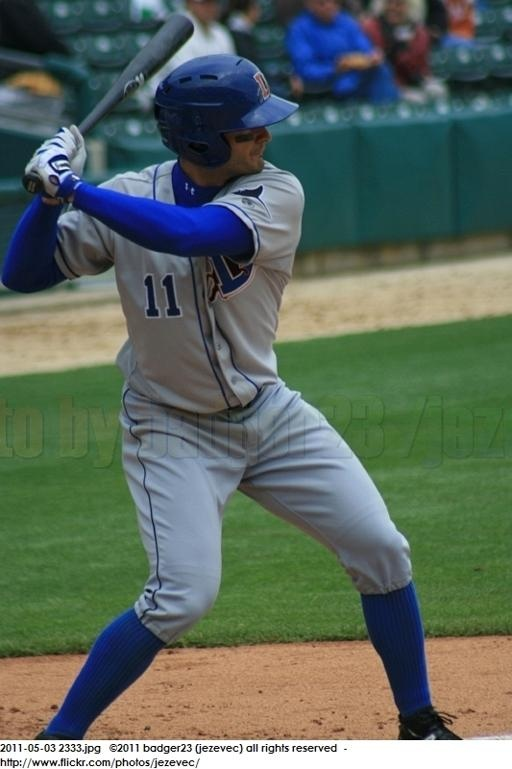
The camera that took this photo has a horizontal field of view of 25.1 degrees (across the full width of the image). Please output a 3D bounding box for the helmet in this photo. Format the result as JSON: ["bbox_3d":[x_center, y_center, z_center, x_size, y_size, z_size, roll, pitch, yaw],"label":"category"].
[{"bbox_3d":[-0.054,-0.605,2.522,0.328,0.198,0.213,3,26,8],"label":"helmet"}]

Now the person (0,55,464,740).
[{"bbox_3d":[-0.078,0.053,2.541,0.906,1.528,0.530,-4,14,-10],"label":"person"}]

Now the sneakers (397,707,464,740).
[{"bbox_3d":[0.385,0.775,2.620,0.069,0.056,0.166,12,-17,-41],"label":"sneakers"}]

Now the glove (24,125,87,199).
[{"bbox_3d":[-0.429,-0.473,2.435,0.124,0.151,0.318,-3,12,-8],"label":"glove"}]
